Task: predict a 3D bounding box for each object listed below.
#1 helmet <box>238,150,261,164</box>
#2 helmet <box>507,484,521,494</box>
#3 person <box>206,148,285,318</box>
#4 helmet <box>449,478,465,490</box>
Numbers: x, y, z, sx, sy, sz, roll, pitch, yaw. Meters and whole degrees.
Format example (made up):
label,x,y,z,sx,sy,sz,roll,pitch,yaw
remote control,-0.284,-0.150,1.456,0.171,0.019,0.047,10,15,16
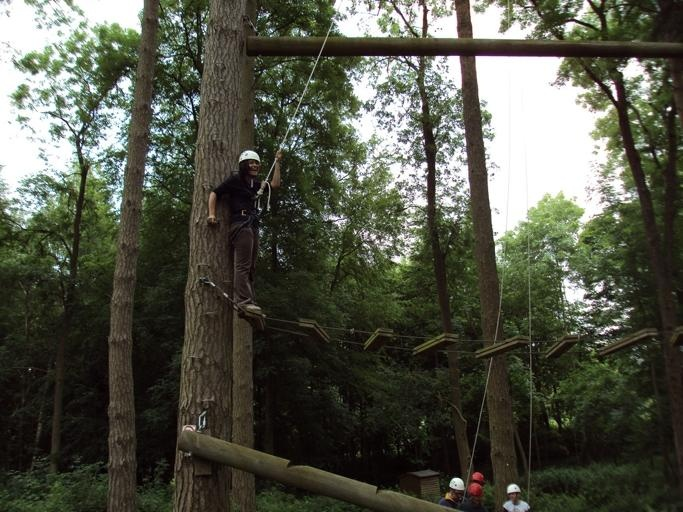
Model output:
label,x,y,z,sx,sy,sz,roll,pitch,yaw
helmet,-2.222,-2.408,16.961,0.405,0.297,0.358,3,4,7
helmet,4.648,6.200,18.934,0.287,0.171,0.419,-7,-27,9
person,-2.389,-0.590,16.637,1.071,3.833,1.541,-6,-18,15
helmet,3.035,5.907,18.282,0.332,0.303,0.282,-2,-18,2
